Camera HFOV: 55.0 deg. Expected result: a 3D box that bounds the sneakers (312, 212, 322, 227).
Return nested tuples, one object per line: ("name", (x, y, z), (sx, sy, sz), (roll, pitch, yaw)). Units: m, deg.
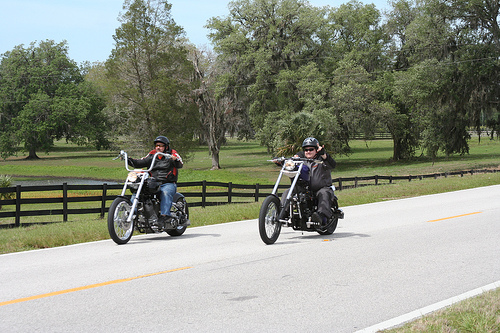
("sneakers", (1.733, 1.382, 12.384), (0.165, 0.426, 0.170), (-5, 10, 9))
